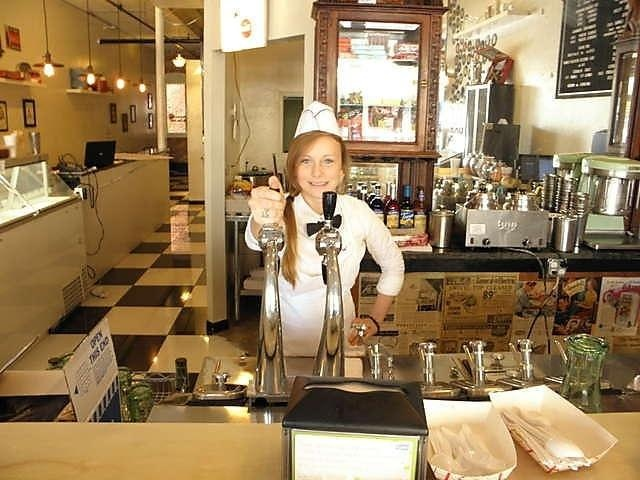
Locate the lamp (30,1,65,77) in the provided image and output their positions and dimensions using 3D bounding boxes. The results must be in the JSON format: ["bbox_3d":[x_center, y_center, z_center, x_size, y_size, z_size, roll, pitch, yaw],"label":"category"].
[{"bbox_3d":[-4.027,-2.988,7.176,0.370,1.207,1.746,-4,14,-27],"label":"lamp"}]

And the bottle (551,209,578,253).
[{"bbox_3d":[1.523,-0.043,3.066,0.165,0.226,0.141,5,13,10],"label":"bottle"}]

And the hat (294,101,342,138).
[{"bbox_3d":[-0.018,-0.498,2.023,0.180,0.149,0.180,3,13,0],"label":"hat"}]

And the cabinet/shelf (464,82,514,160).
[{"bbox_3d":[1.202,-0.878,3.559,0.344,0.502,0.120,5,14,11],"label":"cabinet/shelf"}]

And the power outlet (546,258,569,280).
[{"bbox_3d":[1.419,0.169,3.050,0.102,0.136,0.130,-1,0,-5],"label":"power outlet"}]

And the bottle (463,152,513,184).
[{"bbox_3d":[1.196,-0.521,3.569,0.236,0.135,0.267,17,13,19],"label":"bottle"}]

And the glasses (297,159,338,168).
[{"bbox_3d":[-0.016,-0.304,1.947,0.142,0.031,0.029,2,13,-3],"label":"glasses"}]

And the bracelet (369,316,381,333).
[{"bbox_3d":[0.218,0.352,2.055,0.028,0.094,0.073,-2,5,-21],"label":"bracelet"}]

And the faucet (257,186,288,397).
[{"bbox_3d":[-0.128,0.162,1.281,0.084,0.462,0.174,1,13,-5],"label":"faucet"}]

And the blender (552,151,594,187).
[{"bbox_3d":[1.605,-0.466,3.244,0.278,0.272,0.162,-4,12,3],"label":"blender"}]

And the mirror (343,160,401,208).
[{"bbox_3d":[0.336,-0.374,3.198,0.428,0.376,0.134,0,13,2],"label":"mirror"}]

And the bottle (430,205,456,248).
[{"bbox_3d":[0.757,-0.066,3.145,0.148,0.231,0.159,2,13,-1],"label":"bottle"}]

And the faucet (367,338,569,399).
[{"bbox_3d":[0.494,0.377,1.495,0.580,0.096,0.267,1,12,-7],"label":"faucet"}]

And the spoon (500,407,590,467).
[{"bbox_3d":[0.486,0.447,1.097,0.096,0.057,0.182,-2,13,-21],"label":"spoon"}]
